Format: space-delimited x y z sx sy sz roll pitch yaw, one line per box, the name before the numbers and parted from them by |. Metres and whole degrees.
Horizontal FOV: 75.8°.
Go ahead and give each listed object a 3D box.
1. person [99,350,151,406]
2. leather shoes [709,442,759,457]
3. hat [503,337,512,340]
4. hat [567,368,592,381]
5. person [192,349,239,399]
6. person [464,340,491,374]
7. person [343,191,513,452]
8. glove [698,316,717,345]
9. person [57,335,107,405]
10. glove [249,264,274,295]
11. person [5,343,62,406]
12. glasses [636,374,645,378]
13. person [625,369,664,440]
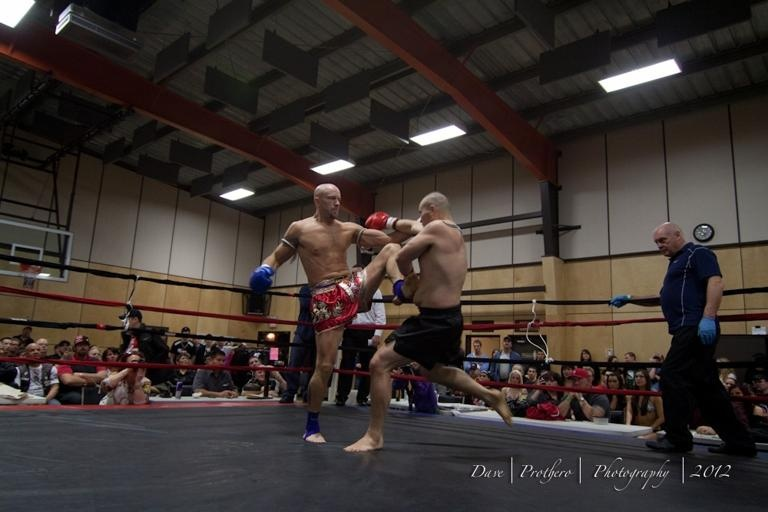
person | -2.753 1.313 5.345 0.493 0.515 1.134 11 -15 -38
leather shoes | 2.693 1.475 3.805 0.323 0.084 0.175 -5 -13 26
hat | 2.177 1.411 8.618 0.109 0.057 0.137 1 -16 11
hat | 2.205 1.294 5.475 0.340 0.131 0.232 12 -16 -43
person | -2.247 1.558 6.614 0.752 0.658 0.609 -8 -21 26
person | 1.674 1.844 8.825 0.421 0.708 0.461 3 -5 -37
person | 0.326 0.560 3.620 1.063 1.643 0.437 5 -13 -18
glove | 2.438 0.555 3.710 0.140 0.199 0.067 -2 -17 39
person | -3.644 1.499 5.941 0.512 1.085 0.631 5 -8 -41
glove | -0.927 0.186 3.860 0.108 0.250 0.185 28 -4 15
person | -4.010 1.389 5.679 0.463 0.788 0.558 -24 -21 34
glasses | 3.111 1.436 5.950 0.059 0.042 0.075 -3 -18 25
person | 2.981 1.706 5.732 0.483 0.751 0.430 -3 -8 13
